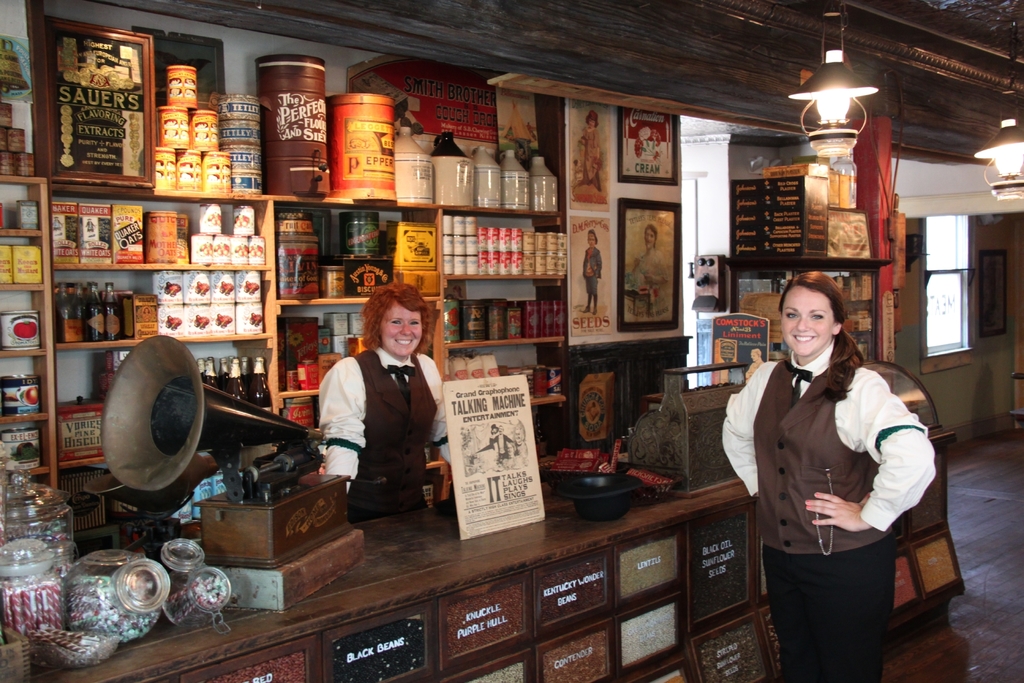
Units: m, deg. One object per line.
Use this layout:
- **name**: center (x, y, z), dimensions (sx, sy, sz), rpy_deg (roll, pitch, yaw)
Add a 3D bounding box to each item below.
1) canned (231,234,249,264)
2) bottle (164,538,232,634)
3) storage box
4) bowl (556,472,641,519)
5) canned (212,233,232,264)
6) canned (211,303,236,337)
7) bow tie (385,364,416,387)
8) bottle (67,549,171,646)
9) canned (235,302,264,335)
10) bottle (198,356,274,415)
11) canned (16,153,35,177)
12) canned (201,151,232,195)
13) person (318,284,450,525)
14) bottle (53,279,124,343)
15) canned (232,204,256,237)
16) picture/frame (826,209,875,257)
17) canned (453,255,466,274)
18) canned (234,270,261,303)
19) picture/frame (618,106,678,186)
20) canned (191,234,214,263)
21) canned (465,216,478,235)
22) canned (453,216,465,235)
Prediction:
- **canned**: center (-1.700, -0.575, 4.743), dimensions (0.120, 0.170, 0.036), rpy_deg (-7, 7, -24)
- **bottle**: center (-1.084, 0.818, 2.605), dimensions (0.222, 0.271, 0.231), rpy_deg (-6, 6, -20)
- **storage box**: center (2.134, -0.996, 5.998), dimensions (0.834, 0.634, 0.470), rpy_deg (1, 1, 44)
- **bowl**: center (0.393, 0.726, 3.537), dimensions (0.369, 0.169, 0.299), rpy_deg (-4, 5, -7)
- **canned**: center (-1.797, -0.564, 4.688), dimensions (0.187, 0.159, 0.165), rpy_deg (-1, 2, -14)
- **canned**: center (-1.784, -0.145, 4.709), dimensions (0.206, 0.234, 0.178), rpy_deg (0, 1, -8)
- **bow tie**: center (-0.565, 0.164, 3.765), dimensions (0.145, 0.093, 0.015), rpy_deg (-1, -2, -26)
- **bottle**: center (-1.272, 0.785, 2.511), dimensions (0.332, 0.237, 0.301), rpy_deg (16, 8, 36)
- **canned**: center (-1.663, -0.146, 4.893), dimensions (0.218, 0.185, 0.191), rpy_deg (-1, 2, -10)
- **bottle**: center (-1.788, 0.258, 4.842), dimensions (0.414, 0.349, 0.386), rpy_deg (-7, 7, -30)
- **canned**: center (-2.640, -0.962, 4.105), dimensions (0.090, 0.126, 0.038), rpy_deg (-7, 7, -24)
- **canned**: center (-1.820, -1.037, 4.667), dimensions (0.180, 0.261, 0.057), rpy_deg (-6, 7, -18)
- **person**: center (-0.655, 0.301, 3.778), dimensions (0.357, 1.162, 0.814), rpy_deg (2, 8, 44)
- **bottle**: center (-2.462, -0.163, 4.393), dimensions (0.459, 0.351, 0.161), rpy_deg (0, -4, -44)
- **canned**: center (-1.693, -0.759, 4.784), dimensions (0.218, 0.181, 0.188), rpy_deg (0, 4, -13)
- **picture/frame**: center (2.755, -0.890, 6.246), dimensions (0.572, 0.390, 0.043), rpy_deg (-5, -5, -39)
- **canned**: center (-0.395, -0.564, 5.630), dimensions (0.143, 0.123, 0.126), rpy_deg (0, 1, -13)
- **canned**: center (-1.657, -0.342, 4.885), dimensions (0.218, 0.188, 0.191), rpy_deg (-1, 4, -10)
- **picture/frame**: center (1.184, -1.767, 6.811), dimensions (0.866, 0.773, 0.098), rpy_deg (3, -5, -32)
- **canned**: center (-1.894, -0.565, 4.636), dimensions (0.197, 0.171, 0.173), rpy_deg (0, 3, -14)
- **canned**: center (-0.317, -0.870, 5.660), dimensions (0.146, 0.123, 0.134), rpy_deg (0, 1, -6)
- **canned**: center (-0.398, -0.859, 5.609), dimensions (0.147, 0.121, 0.129), rpy_deg (0, 0, -8)
